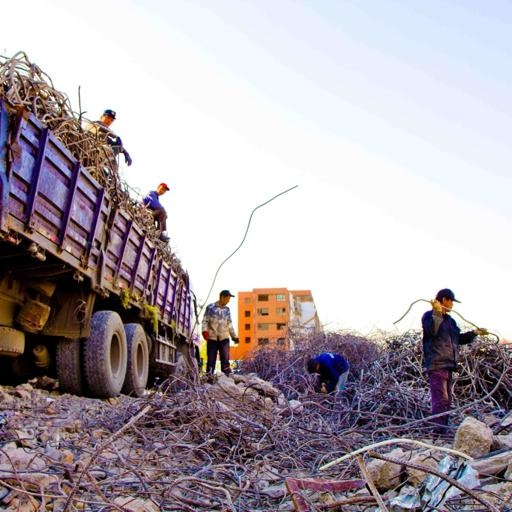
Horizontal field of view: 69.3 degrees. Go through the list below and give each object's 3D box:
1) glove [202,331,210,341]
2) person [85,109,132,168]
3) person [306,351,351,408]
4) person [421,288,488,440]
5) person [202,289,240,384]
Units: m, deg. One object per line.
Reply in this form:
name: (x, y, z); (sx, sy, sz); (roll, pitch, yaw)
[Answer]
glove: (-1.260, 1.947, 9.356); (0.175, 0.191, 0.183); (-28, -30, 17)
person: (-2.526, -1.910, 6.448); (0.380, 1.223, 0.478); (-16, -3, 15)
person: (1.428, 2.198, 7.080); (0.778, 1.126, 0.741); (-3, 0, 19)
person: (2.355, 1.202, 4.557); (0.604, 1.692, 1.288); (-8, -18, 30)
person: (-0.935, 1.879, 9.198); (0.852, 1.827, 0.991); (1, -15, 2)
